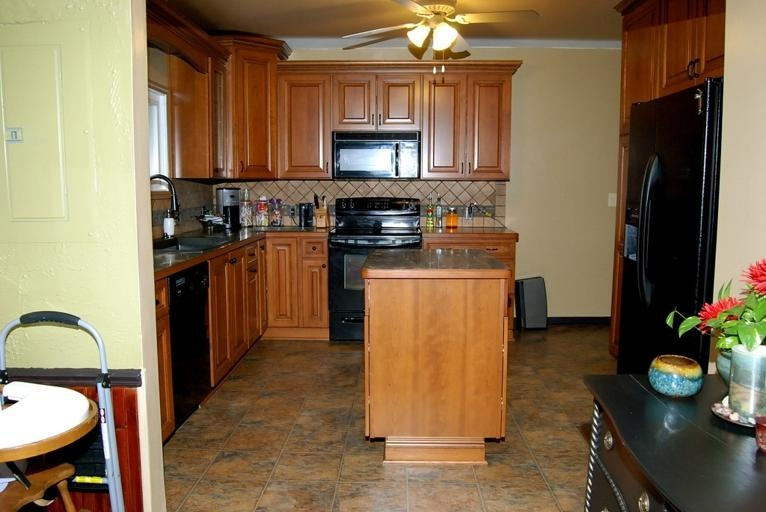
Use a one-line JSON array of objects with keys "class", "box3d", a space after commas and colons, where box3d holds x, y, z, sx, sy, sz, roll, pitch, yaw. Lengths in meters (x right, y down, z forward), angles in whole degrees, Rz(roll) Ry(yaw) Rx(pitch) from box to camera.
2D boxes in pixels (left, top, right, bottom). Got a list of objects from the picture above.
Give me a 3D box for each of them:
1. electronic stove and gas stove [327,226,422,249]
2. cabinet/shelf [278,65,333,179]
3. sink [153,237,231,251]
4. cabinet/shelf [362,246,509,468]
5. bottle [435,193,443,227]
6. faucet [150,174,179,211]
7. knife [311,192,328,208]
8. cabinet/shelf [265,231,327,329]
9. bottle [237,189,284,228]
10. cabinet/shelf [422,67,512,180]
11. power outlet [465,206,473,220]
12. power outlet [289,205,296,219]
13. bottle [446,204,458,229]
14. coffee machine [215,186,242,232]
[{"class": "electronic stove and gas stove", "box3d": [-0.063, -0.167, 5.198, 0.845, 0.145, 0.379, 1, 11, 1]}, {"class": "cabinet/shelf", "box3d": [-0.744, -1.222, 5.255, 0.502, 0.966, 0.134, -1, 13, -7]}, {"class": "sink", "box3d": [-1.440, -0.088, 4.207, 0.534, 0.103, 0.285, -4, 12, -22]}, {"class": "cabinet/shelf", "box3d": [0.287, 0.542, 3.733, 1.007, 1.292, 1.611, -1, 7, 2]}, {"class": "bottle", "box3d": [0.565, -0.445, 5.591, 0.081, 0.291, 0.109, 1, 12, 2]}, {"class": "faucet", "box3d": [-1.617, -0.474, 4.126, 0.158, 0.259, 0.722, -5, 12, -22]}, {"class": "knife", "box3d": [-0.623, -0.552, 5.577, 0.111, 0.187, 0.046, 4, 0, -17]}, {"class": "cabinet/shelf", "box3d": [-0.783, 0.224, 5.110, 0.536, 0.860, 0.174, -2, 13, -9]}, {"class": "bottle", "box3d": [-1.206, -0.471, 5.502, 0.422, 0.351, 0.415, -1, 12, -5]}, {"class": "cabinet/shelf", "box3d": [0.797, -1.282, 5.233, 1.089, 1.077, 0.534, 1, 3, 4]}, {"class": "power outlet", "box3d": [0.863, -0.427, 5.617, 0.070, 0.126, 0.036, 0, 12, -1]}, {"class": "power outlet", "box3d": [-0.920, -0.445, 5.655, 0.069, 0.129, 0.021, 4, 13, 17]}, {"class": "bottle", "box3d": [0.680, -0.376, 5.532, 0.130, 0.191, 0.256, 1, 12, 6]}, {"class": "coffee machine", "box3d": [-1.440, -0.440, 5.240, 0.235, 0.369, 0.713, -3, 12, -15]}]
